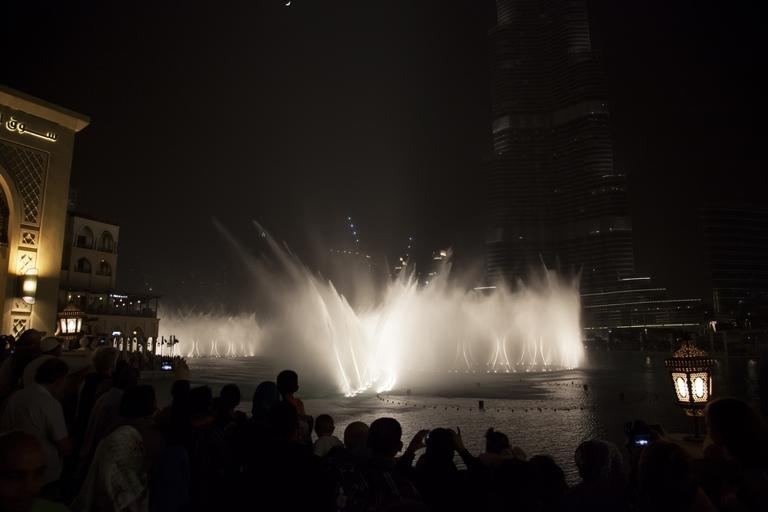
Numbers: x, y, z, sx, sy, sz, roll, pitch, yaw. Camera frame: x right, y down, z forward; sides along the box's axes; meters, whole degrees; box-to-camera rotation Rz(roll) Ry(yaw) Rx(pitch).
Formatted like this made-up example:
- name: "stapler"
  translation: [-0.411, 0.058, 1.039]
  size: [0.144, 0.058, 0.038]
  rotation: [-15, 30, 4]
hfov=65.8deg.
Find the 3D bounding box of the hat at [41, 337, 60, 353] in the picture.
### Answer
- name: "hat"
  translation: [-5.933, 1.558, 10.534]
  size: [0.289, 0.288, 0.266]
  rotation: [7, -20, -18]
